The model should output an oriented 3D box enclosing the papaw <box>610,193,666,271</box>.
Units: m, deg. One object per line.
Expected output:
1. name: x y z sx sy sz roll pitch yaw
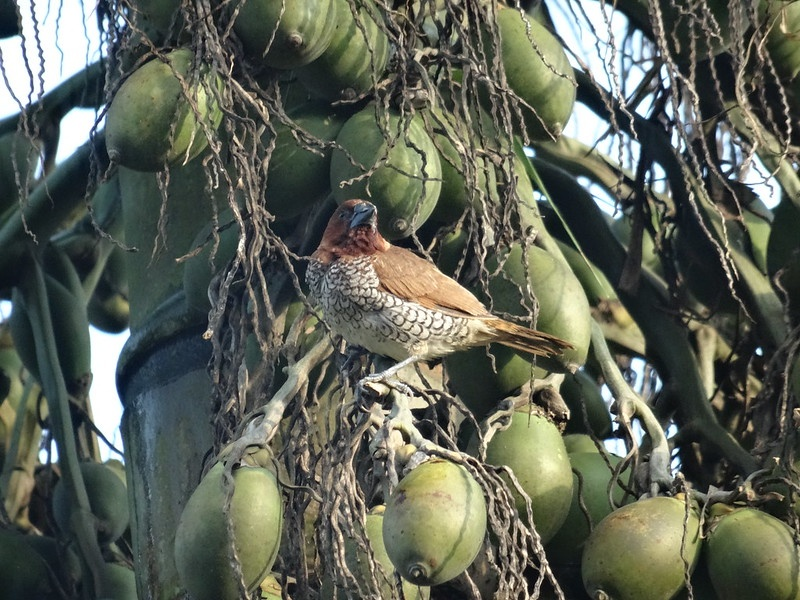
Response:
1. papaw: 1.207 -0.349 8.768 0.084 0.394 0.271 -13 17 12
